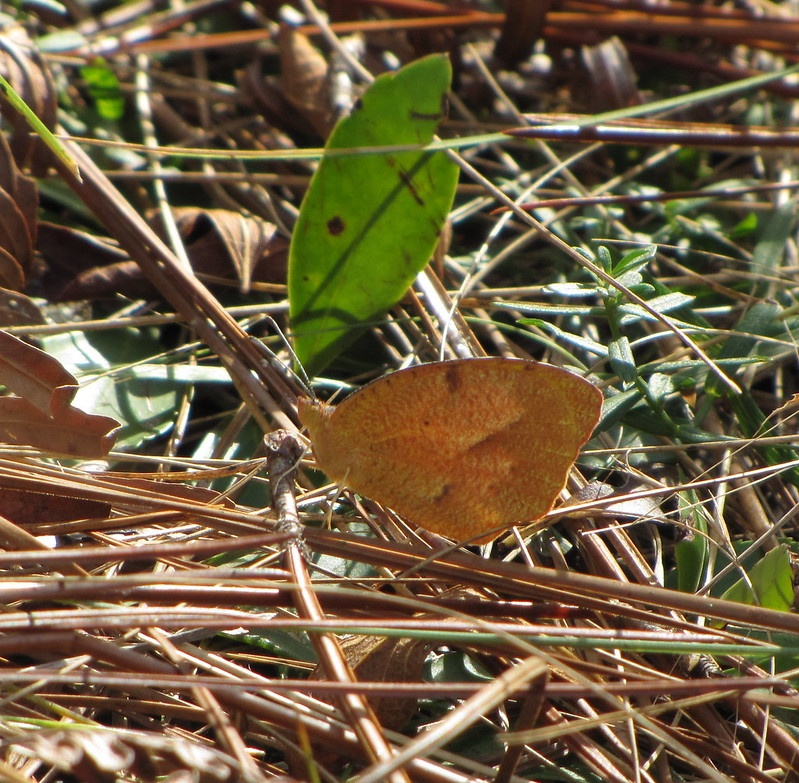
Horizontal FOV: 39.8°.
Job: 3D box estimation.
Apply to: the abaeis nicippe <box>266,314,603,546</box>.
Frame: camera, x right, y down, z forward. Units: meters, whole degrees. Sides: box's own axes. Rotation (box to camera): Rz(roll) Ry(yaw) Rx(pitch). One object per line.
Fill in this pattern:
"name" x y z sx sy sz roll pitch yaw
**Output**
"abaeis nicippe" 0.039 0.074 1.790 0.482 0.393 0.137 3 72 -16
